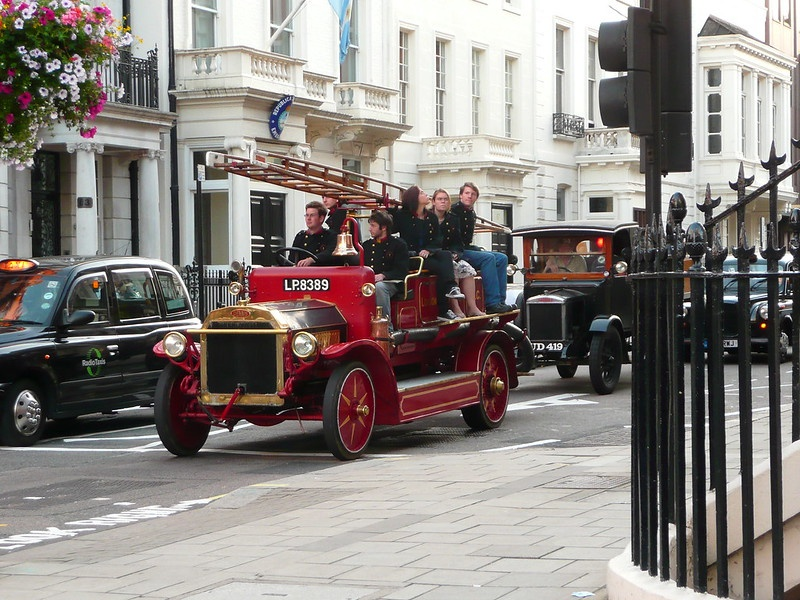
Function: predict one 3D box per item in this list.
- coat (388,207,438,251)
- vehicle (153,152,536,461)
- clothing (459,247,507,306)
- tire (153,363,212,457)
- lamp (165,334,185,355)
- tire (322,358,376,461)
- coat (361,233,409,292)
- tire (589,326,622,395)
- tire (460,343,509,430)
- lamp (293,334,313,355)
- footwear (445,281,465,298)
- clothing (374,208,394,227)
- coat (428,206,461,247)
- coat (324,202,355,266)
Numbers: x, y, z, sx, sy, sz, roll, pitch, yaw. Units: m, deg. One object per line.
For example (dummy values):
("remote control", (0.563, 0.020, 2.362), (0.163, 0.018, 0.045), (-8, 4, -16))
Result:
("coat", (0.223, -0.878, 16.271), (0.650, 0.631, 0.350), (-1, -4, -17))
("vehicle", (-0.761, 0.004, 14.927), (2.064, 3.426, 4.311), (0, 1, 37))
("clothing", (1.128, -0.295, 17.150), (0.592, 0.853, 0.618), (-2, -2, 35))
("tire", (-2.421, 1.227, 13.979), (0.285, 1.037, 0.723), (0, 1, 34))
("lamp", (-2.459, 0.488, 13.695), (0.218, 0.225, 0.064), (-6, -3, 17))
("tire", (-0.569, 1.175, 13.689), (0.315, 1.028, 0.884), (1, 14, 23))
("coat", (-0.179, -0.411, 15.037), (0.619, 0.684, 0.391), (-5, -10, 24))
("tire", (3.307, 0.967, 20.293), (0.304, 1.099, 0.951), (4, 8, 31))
("tire", (1.062, 1.111, 16.055), (0.494, 1.103, 0.954), (1, 8, 32))
("lamp", (-1.035, 0.481, 13.274), (0.285, 0.260, 0.108), (0, 1, 30))
("footwear", (0.686, -0.126, 15.957), (0.206, 0.244, 0.567), (1, -1, -5))
("clothing", (-0.203, -0.998, 15.438), (0.175, 0.227, 0.233), (-2, -7, 0))
("coat", (0.574, -0.946, 16.630), (0.504, 0.497, 0.281), (-6, -7, -20))
("coat", (-0.681, -0.847, 15.937), (0.356, 0.608, 0.368), (4, -2, 11))
